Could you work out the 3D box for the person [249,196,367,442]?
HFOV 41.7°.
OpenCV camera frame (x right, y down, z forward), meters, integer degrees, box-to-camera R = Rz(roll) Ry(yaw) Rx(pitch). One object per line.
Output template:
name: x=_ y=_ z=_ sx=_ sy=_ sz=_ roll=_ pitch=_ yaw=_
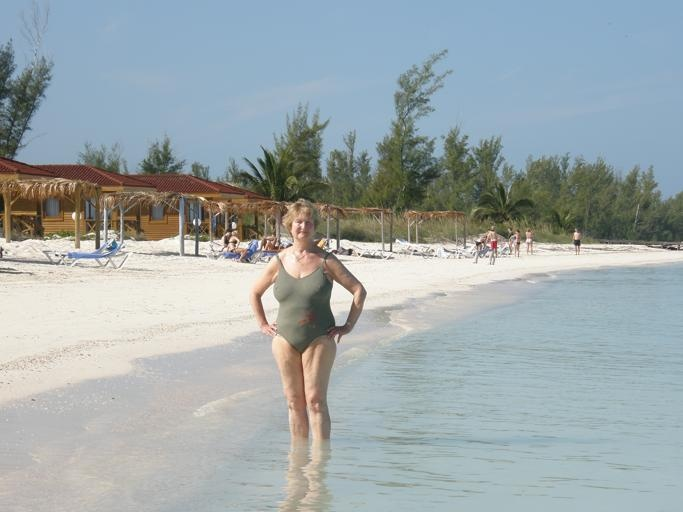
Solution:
person: x=-0.319 y=0.688 z=8.756 sx=1.118 sy=2.455 sz=0.451 roll=1 pitch=9 yaw=-4
